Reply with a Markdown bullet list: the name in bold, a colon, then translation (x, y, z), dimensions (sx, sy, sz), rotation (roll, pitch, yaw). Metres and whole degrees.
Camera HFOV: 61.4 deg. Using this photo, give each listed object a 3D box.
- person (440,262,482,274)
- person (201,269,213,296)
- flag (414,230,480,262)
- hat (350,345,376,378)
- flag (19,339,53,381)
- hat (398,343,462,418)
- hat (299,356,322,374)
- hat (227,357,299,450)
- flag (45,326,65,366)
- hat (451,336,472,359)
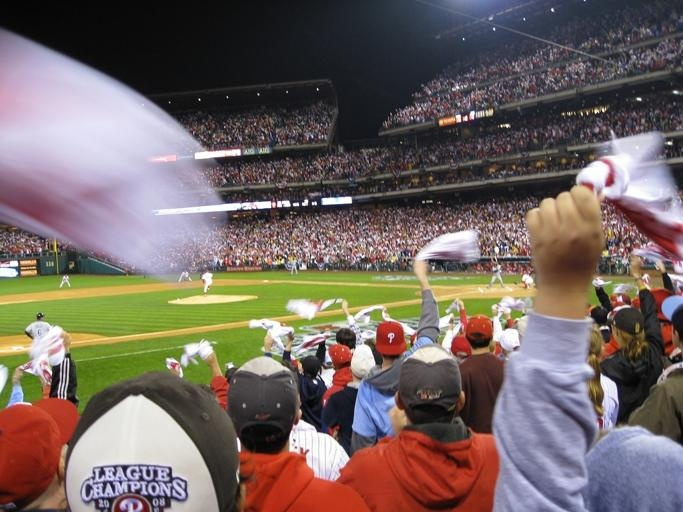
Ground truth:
- **person**: translation (7.874, 0.805, 38.039), dimensions (1.253, 0.632, 3.159), rotation (-3, -3, -38)
- **person**: translation (-7.218, 1.464, 30.867), dimensions (0.403, 1.113, 0.415), rotation (1, -1, -18)
- **flag**: translation (0.691, -0.057, 3.588), dimensions (0.261, 0.139, 0.218), rotation (-2, 3, 16)
- **hat**: translation (0.205, 0.983, 5.365), dimensions (0.172, 0.175, 0.303), rotation (5, 23, -6)
- **flag**: translation (-3.634, 1.265, 6.818), dimensions (0.303, 0.570, 0.529), rotation (-3, -3, -26)
- **hat**: translation (0.548, 0.729, 3.531), dimensions (0.253, 0.251, 0.402), rotation (0, 23, 9)
- **hat**: translation (-0.330, 1.224, 6.455), dimensions (0.143, 0.225, 0.204), rotation (-3, 12, -14)
- **hat**: translation (-0.439, 0.851, 3.381), dimensions (0.441, 0.833, 0.393), rotation (1, -15, -6)
- **flag**: translation (-3.478, 1.088, 6.975), dimensions (0.209, 0.444, 0.146), rotation (-2, -6, 0)
- **hat**: translation (1.343, 1.007, 6.462), dimensions (0.152, 0.158, 0.254), rotation (6, 15, 5)
